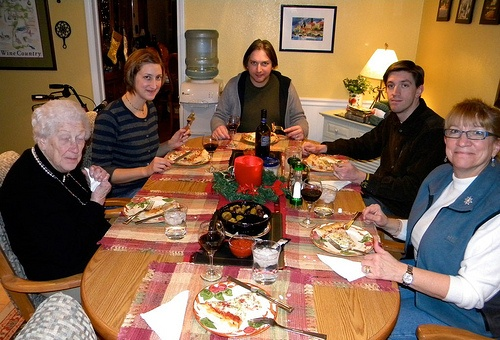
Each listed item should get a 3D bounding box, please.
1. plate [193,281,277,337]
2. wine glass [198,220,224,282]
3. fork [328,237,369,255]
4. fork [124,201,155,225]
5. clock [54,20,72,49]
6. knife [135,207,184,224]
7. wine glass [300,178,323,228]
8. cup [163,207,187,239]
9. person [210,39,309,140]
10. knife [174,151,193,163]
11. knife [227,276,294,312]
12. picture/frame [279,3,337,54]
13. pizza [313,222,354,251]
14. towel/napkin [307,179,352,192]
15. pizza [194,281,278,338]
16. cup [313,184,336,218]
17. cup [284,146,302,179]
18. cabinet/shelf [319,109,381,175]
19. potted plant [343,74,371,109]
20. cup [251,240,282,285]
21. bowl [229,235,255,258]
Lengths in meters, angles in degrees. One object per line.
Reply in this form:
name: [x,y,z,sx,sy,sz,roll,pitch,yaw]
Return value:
plate: [-0.071,0.623,1.588,0.307,0.076,0.312,-19,30,-37]
wine glass: [-0.194,0.403,1.823,0.137,0.291,0.130,-3,9,-10]
fork: [0.532,0.419,1.948,0.128,0.019,0.022,27,48,21]
fork: [-0.642,0.244,2.207,0.046,0.042,0.288,20,37,26]
clock: [-2.568,-1.895,4.950,0.222,0.374,0.060,4,24,8]
knife: [-0.520,0.269,2.083,0.193,0.022,0.039,-16,23,0]
wine glass: [0.367,0.194,2.176,0.126,0.278,0.125,5,13,7]
cup: [-0.392,0.310,2.044,0.148,0.165,0.144,1,22,0]
person: [0.080,-0.645,3.782,1.062,1.270,0.984,4,28,6]
knife: [-0.525,-0.130,2.870,0.015,0.041,0.284,22,34,21]
knife: [0.049,0.583,1.653,0.288,0.025,0.034,20,27,24]
picture/frame: [0.782,-1.927,4.727,0.602,0.444,0.025,2,20,-1]
pizza: [0.479,0.370,2.015,0.132,0.033,0.144,-11,29,-23]
towel/napkin: [0.533,0.100,2.468,0.479,0.081,0.112,-1,-3,-26]
pizza: [-0.076,0.624,1.581,0.217,0.036,0.218,25,33,30]
cup: [0.491,0.209,2.292,0.191,0.203,0.181,2,16,-1]
cup: [0.303,-0.051,2.506,0.135,0.222,0.131,-1,27,0]
cabinet/shelf: [1.066,-0.304,3.682,0.359,0.683,0.683,-9,19,-32]
potted plant: [1.386,-1.011,4.617,0.376,0.415,0.310,6,3,24]
cup: [0.085,0.478,1.803,0.153,0.169,0.160,1,-10,0]
bowl: [-0.042,0.398,1.853,0.107,0.061,0.106,2,10,0]
